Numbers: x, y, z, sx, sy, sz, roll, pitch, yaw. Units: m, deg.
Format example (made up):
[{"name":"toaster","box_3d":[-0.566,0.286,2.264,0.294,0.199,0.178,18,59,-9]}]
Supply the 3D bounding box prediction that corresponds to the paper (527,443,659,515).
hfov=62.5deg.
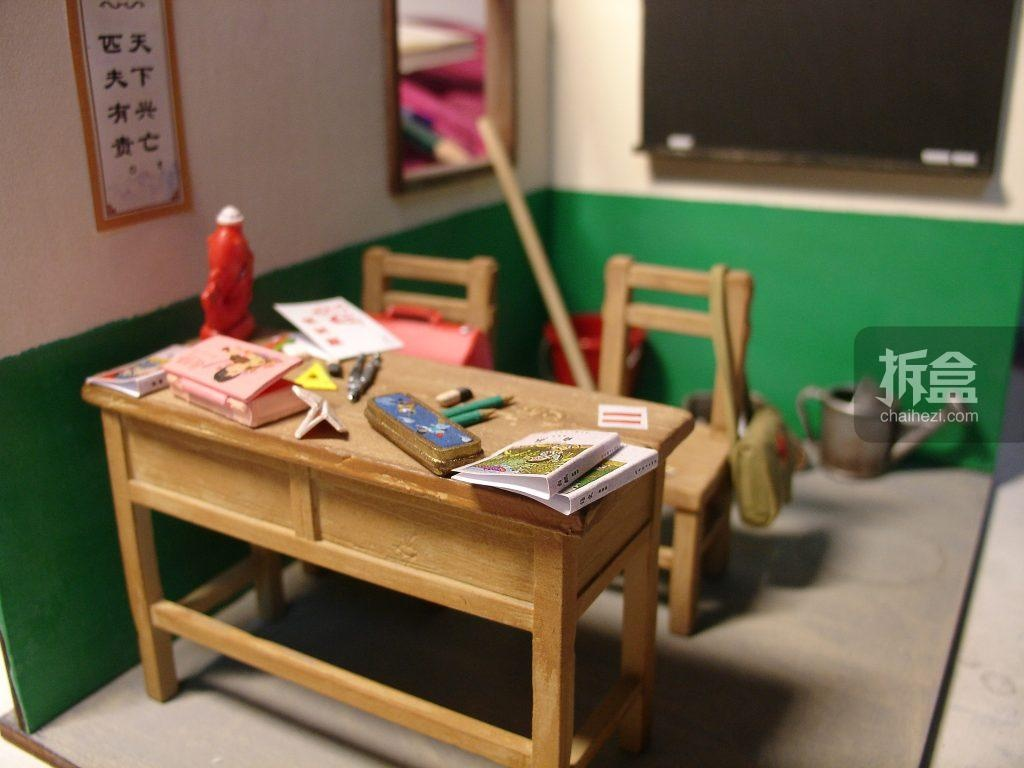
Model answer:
[{"name":"paper","box_3d":[0.186,0.189,1.675,0.127,0.040,0.182,4,27,41]}]

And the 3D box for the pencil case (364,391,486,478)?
[{"name":"pencil case","box_3d":[-0.205,0.076,1.850,0.125,0.067,0.277,-25,38,-35]}]

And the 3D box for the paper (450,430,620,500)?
[{"name":"paper","box_3d":[0.058,0.153,1.747,0.301,0.056,0.295,-17,15,-36]}]

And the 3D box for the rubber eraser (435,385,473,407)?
[{"name":"rubber eraser","box_3d":[-0.139,0.029,2.039,0.114,0.037,0.036,-13,65,-46]}]

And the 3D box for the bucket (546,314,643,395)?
[{"name":"bucket","box_3d":[0.357,-0.149,3.731,0.371,0.307,0.383,-2,26,1]}]

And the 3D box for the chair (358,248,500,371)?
[{"name":"chair","box_3d":[-0.269,-0.229,2.607,0.325,0.559,0.293,11,22,18]}]
